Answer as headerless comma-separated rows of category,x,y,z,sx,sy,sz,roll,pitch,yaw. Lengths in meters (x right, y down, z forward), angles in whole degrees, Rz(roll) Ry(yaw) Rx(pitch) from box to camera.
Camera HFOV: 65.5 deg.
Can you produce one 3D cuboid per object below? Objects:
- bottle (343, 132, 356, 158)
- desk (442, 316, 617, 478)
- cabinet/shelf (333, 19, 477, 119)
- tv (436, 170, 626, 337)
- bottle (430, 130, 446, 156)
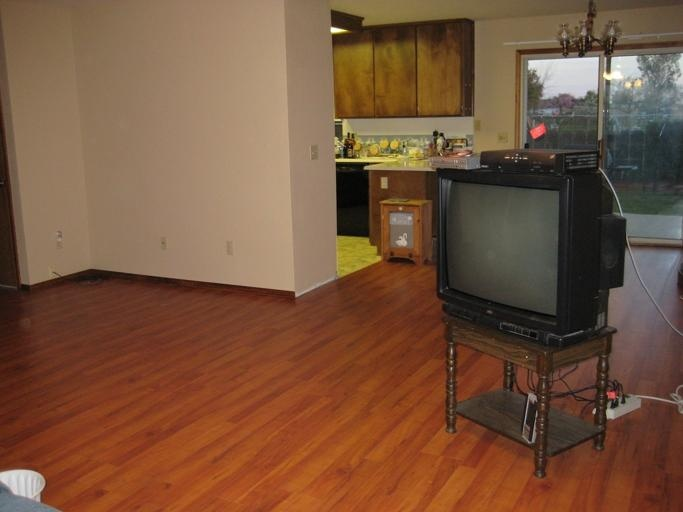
bottle,0.116,-1.762,8.397,0.205,0.373,0.355,-2,15,2
desk,0.970,0.676,2.861,0.588,0.676,0.735,-5,7,-24
cabinet/shelf,0.967,-2.666,7.470,1.672,1.035,0.506,5,12,25
tv,1.013,-0.050,2.802,0.751,0.813,0.813,-11,15,-34
bottle,1.414,-1.661,7.776,0.247,0.348,0.405,2,15,15
